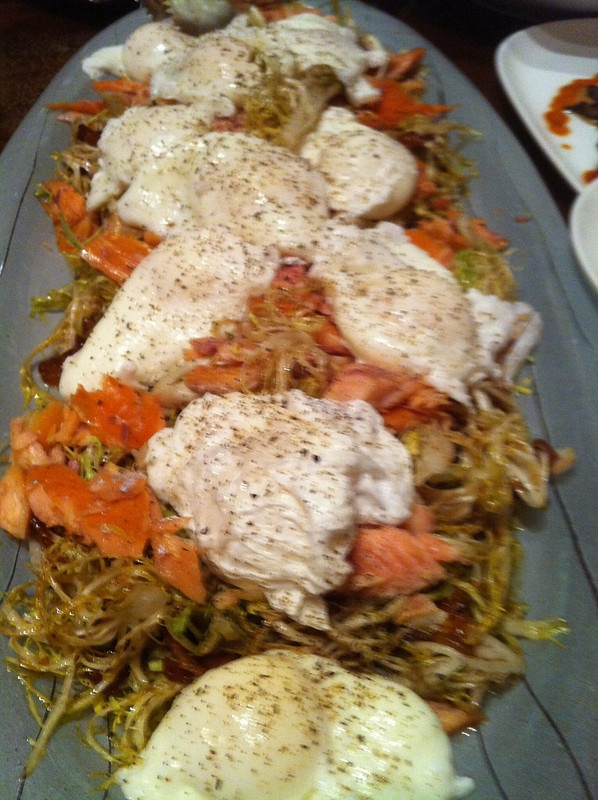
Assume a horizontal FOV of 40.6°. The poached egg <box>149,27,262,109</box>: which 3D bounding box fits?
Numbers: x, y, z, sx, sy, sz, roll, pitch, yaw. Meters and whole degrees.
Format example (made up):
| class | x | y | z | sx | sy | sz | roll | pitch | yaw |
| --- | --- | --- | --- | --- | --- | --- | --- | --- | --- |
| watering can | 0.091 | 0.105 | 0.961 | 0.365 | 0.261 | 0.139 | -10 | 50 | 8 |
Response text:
| class | x | y | z | sx | sy | sz | roll | pitch | yaw |
| --- | --- | --- | --- | --- | --- | --- | --- | --- | --- |
| poached egg | -0.473 | -1.454 | 3.403 | 0.404 | 0.352 | 0.094 | -12 | 72 | -28 |
